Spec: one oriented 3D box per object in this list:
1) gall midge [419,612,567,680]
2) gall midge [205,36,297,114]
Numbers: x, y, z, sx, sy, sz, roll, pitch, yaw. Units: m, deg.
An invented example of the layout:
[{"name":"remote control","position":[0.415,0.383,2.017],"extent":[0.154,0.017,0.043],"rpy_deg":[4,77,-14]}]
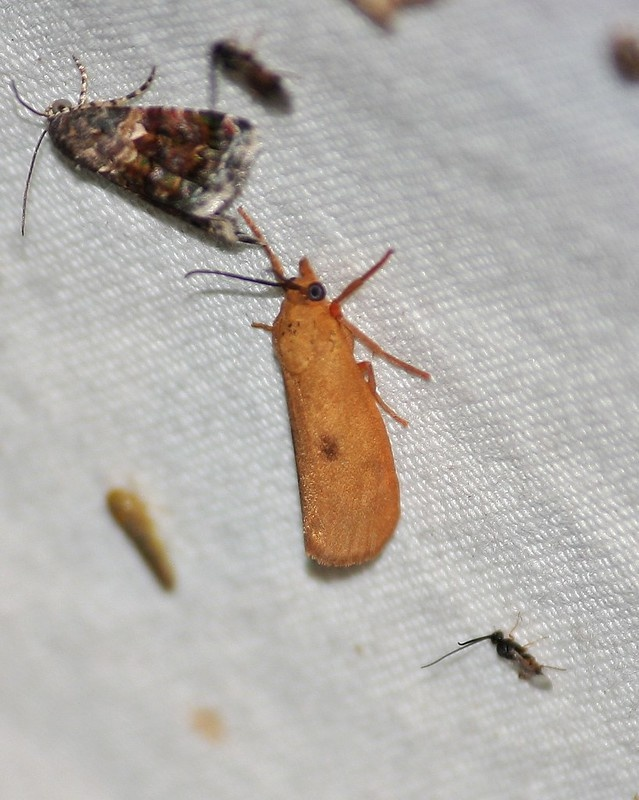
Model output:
[{"name":"gall midge","position":[0.275,0.369,1.680],"extent":[0.110,0.095,0.033],"rpy_deg":[42,20,-6]},{"name":"gall midge","position":[-0.101,-0.488,1.654],"extent":[0.110,0.108,0.032],"rpy_deg":[44,14,6]}]
